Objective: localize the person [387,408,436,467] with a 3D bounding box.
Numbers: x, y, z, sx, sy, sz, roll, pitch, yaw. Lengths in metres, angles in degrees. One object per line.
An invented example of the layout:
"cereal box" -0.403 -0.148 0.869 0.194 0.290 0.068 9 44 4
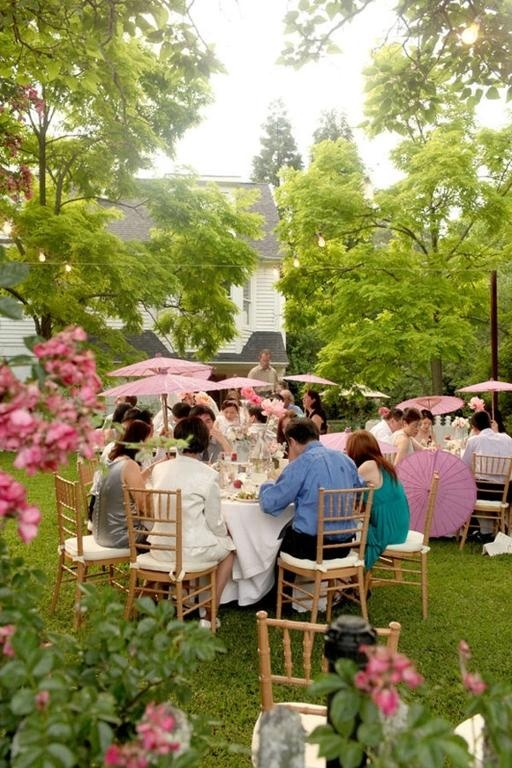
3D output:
"person" 1.578 0.552 6.419 0.344 0.829 0.303 -10 17 -12

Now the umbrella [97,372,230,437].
"umbrella" -0.847 0.089 5.666 0.724 0.505 0.781 -2 7 20

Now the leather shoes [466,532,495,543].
"leather shoes" 2.378 1.633 6.642 0.160 0.075 0.130 9 12 43

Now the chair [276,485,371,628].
"chair" 0.432 1.119 4.066 0.580 0.809 0.990 3 -1 3

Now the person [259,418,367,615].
"person" 0.374 0.813 4.260 0.647 1.093 0.654 -13 14 -43

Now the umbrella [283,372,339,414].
"umbrella" 0.709 0.137 9.029 0.576 0.482 0.571 5 8 8

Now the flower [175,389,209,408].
"flower" -0.809 0.192 8.099 0.323 0.152 0.314 6 20 9

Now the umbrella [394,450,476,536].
"umbrella" 1.555 0.970 5.716 0.828 0.775 0.752 3 -3 -4
